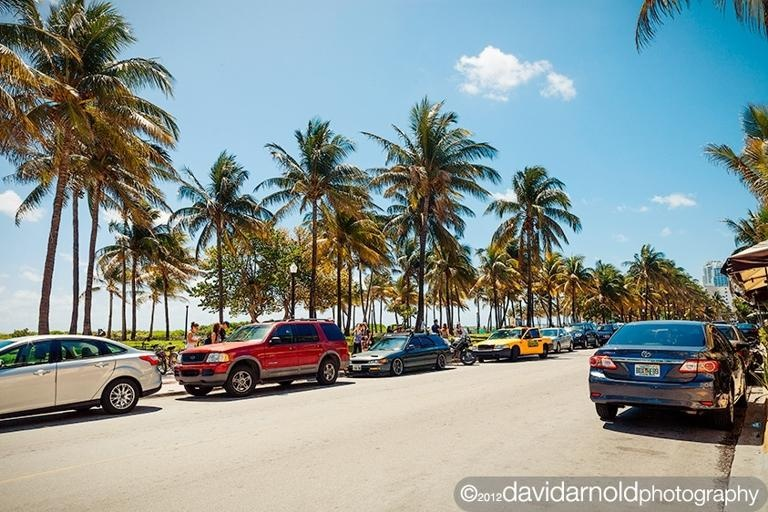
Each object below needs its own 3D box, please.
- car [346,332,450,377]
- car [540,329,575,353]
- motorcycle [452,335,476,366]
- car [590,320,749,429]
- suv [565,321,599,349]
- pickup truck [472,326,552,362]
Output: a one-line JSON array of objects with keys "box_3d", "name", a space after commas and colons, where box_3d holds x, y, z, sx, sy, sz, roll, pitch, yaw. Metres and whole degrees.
[{"box_3d": [0.776, 4.342, 22.038, 4.828, 1.806, 1.227, 11, -15, -43], "name": "car"}, {"box_3d": [11.755, 5.716, 34.065, 1.615, 1.279, 3.641, -7, -14, 31], "name": "car"}, {"box_3d": [4.197, 4.977, 26.570, 1.219, 1.601, 1.393, -2, -10, 7], "name": "motorcycle"}, {"box_3d": [5.965, 2.456, 10.540, 3.099, 2.269, 1.809, -4, -11, 15], "name": "car"}, {"box_3d": [16.425, 6.456, 40.742, 1.967, 1.563, 3.256, -8, -15, 32], "name": "suv"}, {"box_3d": [7.389, 4.985, 28.018, 1.969, 1.640, 4.778, -11, -18, 33], "name": "pickup truck"}]
